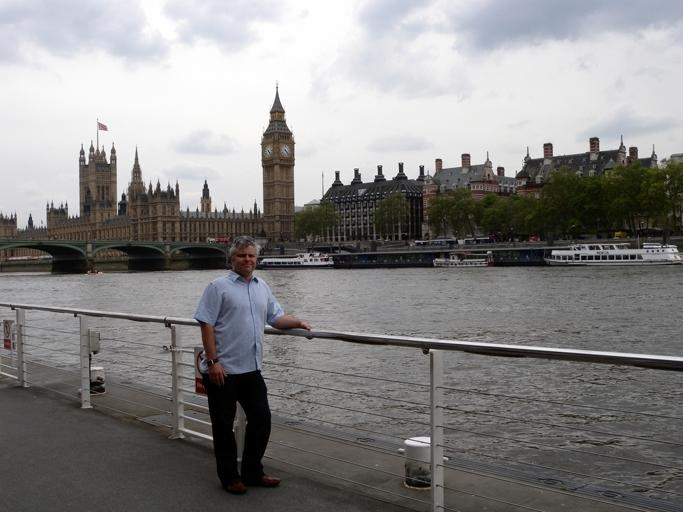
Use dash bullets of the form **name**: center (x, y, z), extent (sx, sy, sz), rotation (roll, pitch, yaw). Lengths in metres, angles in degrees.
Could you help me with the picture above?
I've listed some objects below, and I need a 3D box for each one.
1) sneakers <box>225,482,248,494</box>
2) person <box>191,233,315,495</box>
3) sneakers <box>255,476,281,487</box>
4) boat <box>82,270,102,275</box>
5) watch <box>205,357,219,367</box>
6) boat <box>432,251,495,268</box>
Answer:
- **sneakers**: center (-0.919, 2.025, 7.451), extent (0.179, 0.062, 0.091), rotation (-2, 2, 34)
- **person**: center (-0.896, 0.948, 7.758), extent (0.861, 2.239, 0.638), rotation (-1, 1, -22)
- **sneakers**: center (-0.659, 2.017, 7.583), extent (0.238, 0.084, 0.080), rotation (-2, 6, 0)
- **boat**: center (-26.699, 1.785, 90.987), extent (1.014, 0.340, 1.597), rotation (-2, 2, -31)
- **watch**: center (-1.165, 0.948, 7.609), extent (0.093, 0.055, 0.094), rotation (-4, 1, 31)
- **boat**: center (11.988, 0.348, 83.933), extent (4.039, 1.482, 9.357), rotation (-1, 1, -14)
